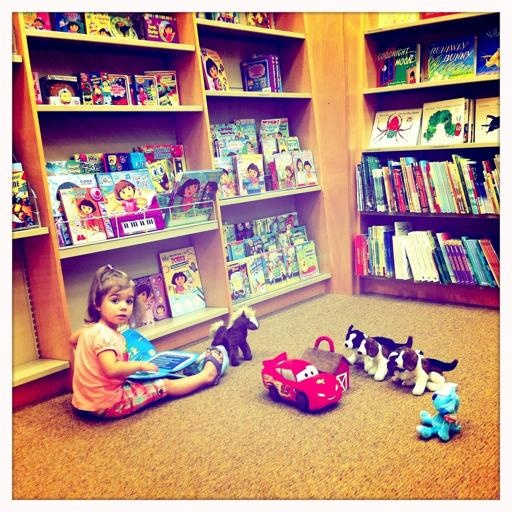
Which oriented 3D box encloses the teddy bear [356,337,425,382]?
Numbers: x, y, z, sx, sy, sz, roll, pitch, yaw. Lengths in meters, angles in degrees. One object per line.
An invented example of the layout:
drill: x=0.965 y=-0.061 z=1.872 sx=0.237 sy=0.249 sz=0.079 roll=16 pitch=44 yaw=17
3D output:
teddy bear: x=0.463 y=0.379 z=1.546 sx=0.274 sy=0.207 sz=0.119 roll=-5 pitch=-7 yaw=6

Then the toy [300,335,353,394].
toy: x=0.278 y=0.393 z=1.568 sx=0.134 sy=0.225 sz=0.206 roll=-5 pitch=5 yaw=-43

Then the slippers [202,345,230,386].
slippers: x=-0.169 y=0.436 z=1.664 sx=0.060 sy=0.073 sz=0.168 roll=-6 pitch=29 yaw=3

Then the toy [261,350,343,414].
toy: x=0.143 y=0.434 z=1.444 sx=0.141 sy=0.113 sz=0.249 roll=-12 pitch=9 yaw=-41

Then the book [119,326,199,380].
book: x=-0.405 y=0.411 z=1.705 sx=0.248 sy=0.107 sz=0.194 roll=2 pitch=10 yaw=20

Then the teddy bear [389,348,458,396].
teddy bear: x=0.585 y=0.390 z=1.494 sx=0.218 sy=0.162 sz=0.196 roll=-3 pitch=8 yaw=17

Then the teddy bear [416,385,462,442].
teddy bear: x=0.510 y=0.435 z=1.178 sx=0.114 sy=0.154 sz=0.123 roll=0 pitch=9 yaw=31
